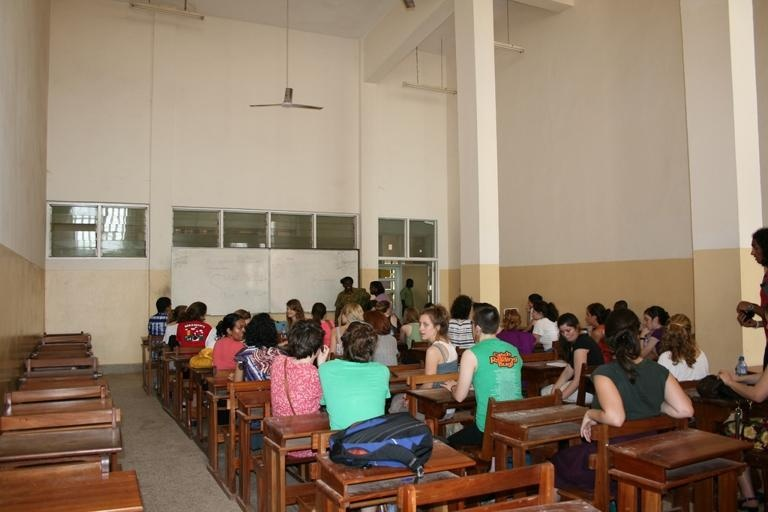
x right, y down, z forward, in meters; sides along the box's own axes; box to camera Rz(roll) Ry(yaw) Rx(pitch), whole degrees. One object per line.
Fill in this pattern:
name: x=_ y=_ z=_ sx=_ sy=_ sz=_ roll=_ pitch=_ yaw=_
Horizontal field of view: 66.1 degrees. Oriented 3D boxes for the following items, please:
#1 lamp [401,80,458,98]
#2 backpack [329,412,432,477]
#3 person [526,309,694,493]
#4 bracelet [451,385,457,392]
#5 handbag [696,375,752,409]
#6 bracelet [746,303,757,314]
lamp: x=1.004 y=-3.848 z=13.592 sx=1.282 sy=0.133 sz=0.237 roll=-3 pitch=33 yaw=-35
backpack: x=-0.004 y=1.353 z=4.225 sx=0.529 sy=0.207 sz=0.420 roll=2 pitch=3 yaw=-7
person: x=1.955 y=1.181 z=4.808 sx=1.035 sy=1.478 sz=0.492 roll=-1 pitch=2 yaw=-8
bracelet: x=0.648 y=1.231 z=5.441 sx=0.058 sy=0.071 sz=0.077 roll=3 pitch=-9 yaw=-10
handbag: x=2.940 y=1.190 z=5.166 sx=0.266 sy=0.098 sz=0.273 roll=2 pitch=0 yaw=-34
bracelet: x=3.624 y=0.525 z=5.831 sx=0.049 sy=0.117 sz=0.230 roll=7 pitch=0 yaw=23
